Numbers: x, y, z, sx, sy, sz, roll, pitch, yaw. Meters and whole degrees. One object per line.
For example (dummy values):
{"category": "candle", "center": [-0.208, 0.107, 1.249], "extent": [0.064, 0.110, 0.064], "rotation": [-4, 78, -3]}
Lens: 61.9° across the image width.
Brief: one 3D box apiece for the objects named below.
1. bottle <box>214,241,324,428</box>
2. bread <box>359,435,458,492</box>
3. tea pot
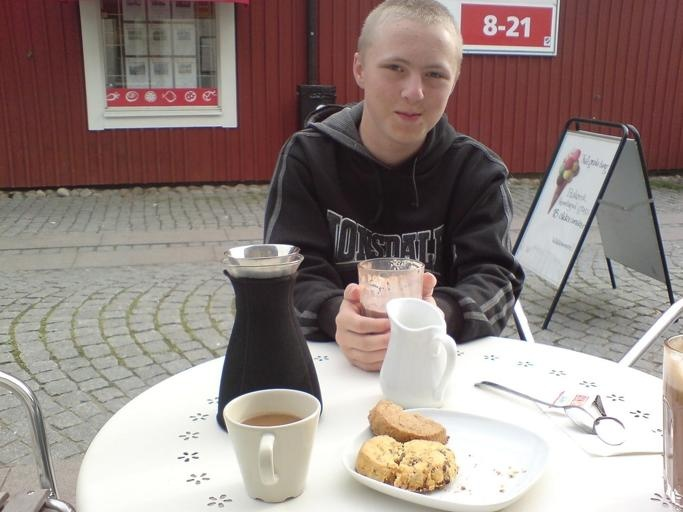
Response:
{"category": "bottle", "center": [-0.185, 0.153, 1.453], "extent": [0.271, 0.444, 0.259], "rotation": [2, 16, -1]}
{"category": "bread", "center": [0.139, 0.447, 1.225], "extent": [0.193, 0.060, 0.165], "rotation": [15, 28, 27]}
{"category": "tea pot", "center": [0.181, 0.226, 1.531], "extent": [0.249, 0.259, 0.239], "rotation": [2, 12, -1]}
